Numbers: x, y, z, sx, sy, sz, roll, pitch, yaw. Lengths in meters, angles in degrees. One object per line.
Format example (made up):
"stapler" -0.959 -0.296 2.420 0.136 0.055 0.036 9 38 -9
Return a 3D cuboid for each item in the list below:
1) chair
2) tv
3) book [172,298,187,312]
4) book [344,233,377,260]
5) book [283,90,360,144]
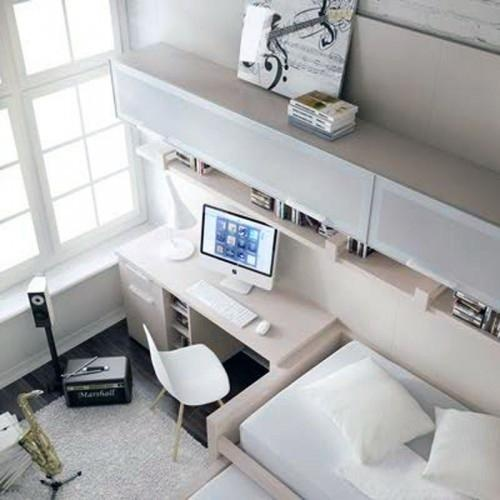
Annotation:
"chair" -0.410 0.946 2.827 0.357 0.684 0.406 -21 48 -14
"tv" -0.060 -0.005 2.744 0.470 0.364 0.131 27 45 26
"book" -0.492 0.369 3.077 0.095 0.027 0.092 36 35 30
"book" 0.530 -0.018 2.072 0.112 0.095 0.116 -10 28 -30
"book" 0.307 -0.553 1.766 0.242 0.104 0.219 34 47 30
